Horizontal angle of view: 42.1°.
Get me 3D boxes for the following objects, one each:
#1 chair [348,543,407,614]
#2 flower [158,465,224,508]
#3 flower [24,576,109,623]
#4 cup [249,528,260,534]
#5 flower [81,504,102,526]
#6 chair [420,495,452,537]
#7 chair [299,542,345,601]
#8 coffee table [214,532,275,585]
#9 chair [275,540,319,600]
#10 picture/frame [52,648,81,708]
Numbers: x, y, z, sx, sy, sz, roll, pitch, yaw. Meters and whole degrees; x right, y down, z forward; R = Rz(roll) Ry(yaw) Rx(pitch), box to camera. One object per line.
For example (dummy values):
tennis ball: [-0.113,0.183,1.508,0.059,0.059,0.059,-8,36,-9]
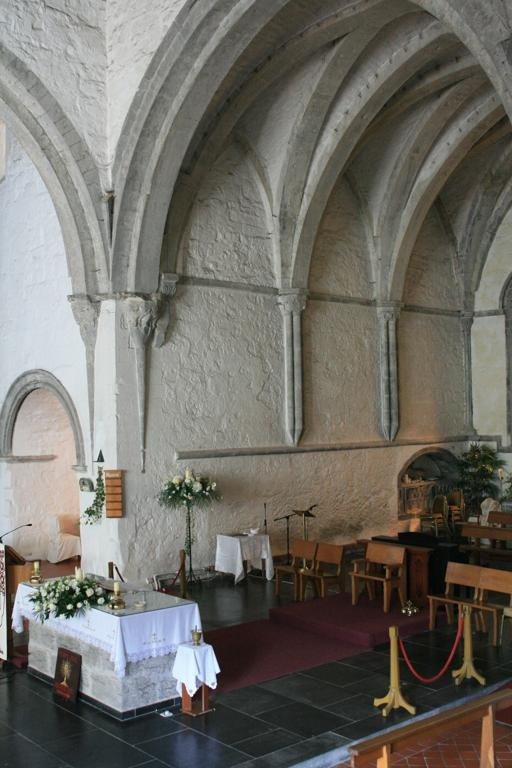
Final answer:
chair: [1.522,2.397,8.303,0.421,0.749,0.634,3,-7,-35]
flower: [-0.966,1.623,10.254,0.567,0.599,1.029,-5,-6,36]
flower: [-1.643,1.825,5.932,0.564,0.338,0.550,1,0,1]
cup: [-0.026,2.342,10.552,0.160,0.121,0.167,-1,-13,0]
flower: [-2.465,1.941,9.951,0.173,0.345,0.595,2,-6,-33]
chair: [3.969,2.878,14.775,0.636,0.759,1.409,-3,-5,15]
chair: [0.870,2.482,8.748,0.425,0.722,0.514,5,-9,-38]
coffee table: [-0.215,2.699,10.336,0.824,0.708,0.820,-11,-14,43]
chair: [0.557,2.543,9.135,0.498,0.746,0.461,-4,-7,41]
picture/frame: [-1.635,2.553,5.764,0.058,0.507,0.438,7,-7,-43]
